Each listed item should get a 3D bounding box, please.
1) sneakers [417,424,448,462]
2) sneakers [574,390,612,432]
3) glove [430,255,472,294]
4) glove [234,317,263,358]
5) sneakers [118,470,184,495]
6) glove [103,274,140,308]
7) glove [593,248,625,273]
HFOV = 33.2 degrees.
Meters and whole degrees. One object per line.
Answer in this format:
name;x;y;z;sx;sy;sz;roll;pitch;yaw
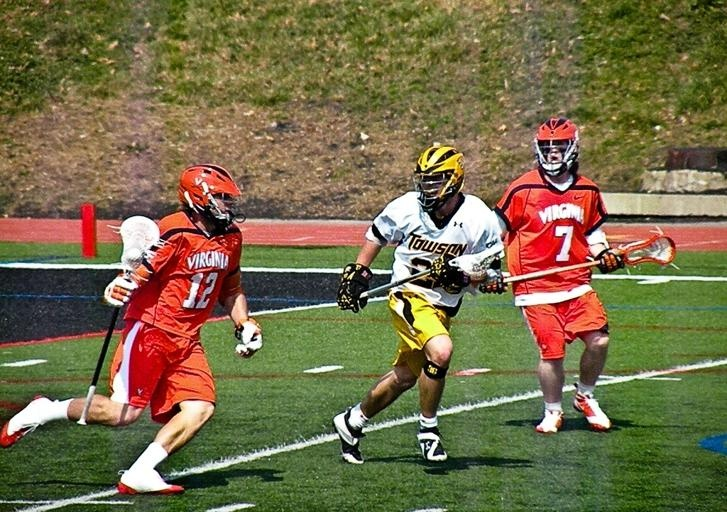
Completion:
sneakers;0.780;2.093;13.617;0.318;0.410;0.275;-4;5;2
sneakers;2.708;1.795;14.339;0.278;0.225;0.679;-14;31;-17
glove;0.976;0.225;13.600;0.442;0.434;0.203;-4;5;3
glove;-1.291;0.884;13.524;0.223;0.344;0.423;-41;36;15
sneakers;-2.235;2.427;13.025;0.720;0.233;0.232;1;2;-8
glove;-2.587;0.383;13.107;0.356;0.347;0.231;-5;5;-11
glove;2.933;0.056;14.508;0.371;0.287;0.233;-4;5;5
